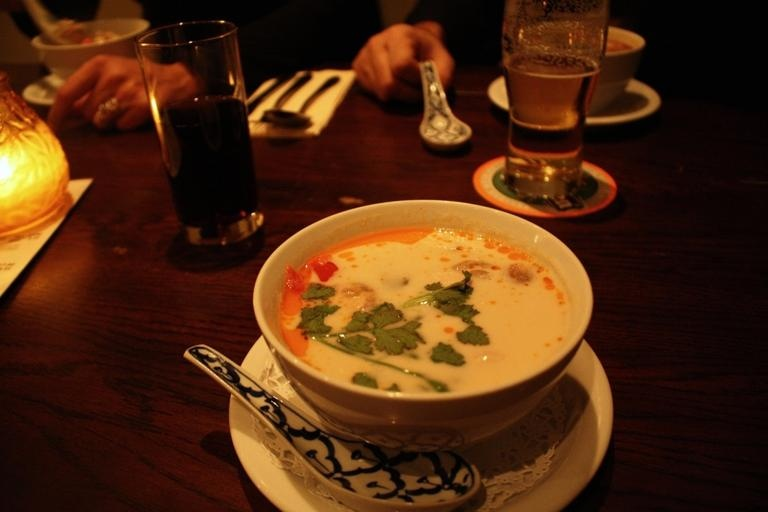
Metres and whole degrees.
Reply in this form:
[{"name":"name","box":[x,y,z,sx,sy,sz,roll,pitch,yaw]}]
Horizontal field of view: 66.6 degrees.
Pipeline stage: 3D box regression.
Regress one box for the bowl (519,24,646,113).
[{"name":"bowl","box":[0.801,-0.677,2.214,0.316,0.209,0.284,-13,30,-12]}]

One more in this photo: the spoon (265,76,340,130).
[{"name":"spoon","box":[-0.366,-0.652,2.384,0.170,0.064,0.357,4,36,13]}]

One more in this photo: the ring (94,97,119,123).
[{"name":"ring","box":[-1.062,-0.557,2.245,0.104,0.033,0.059,-36,77,14]}]
